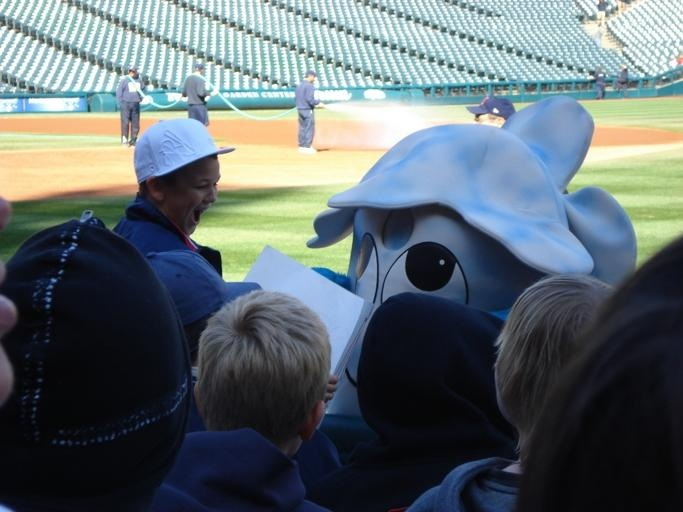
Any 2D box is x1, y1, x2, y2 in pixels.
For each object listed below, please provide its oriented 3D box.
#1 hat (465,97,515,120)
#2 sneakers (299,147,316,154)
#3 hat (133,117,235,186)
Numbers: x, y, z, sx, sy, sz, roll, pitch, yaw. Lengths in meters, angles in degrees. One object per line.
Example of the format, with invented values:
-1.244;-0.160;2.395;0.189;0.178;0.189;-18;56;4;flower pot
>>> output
1.310;-1.272;6.609;0.401;0.170;0.298;15;15;36;hat
-0.588;-1.839;13.472;0.266;0.108;0.136;-1;18;-1;sneakers
-0.578;-0.404;2.847;0.387;0.210;0.323;-5;12;25;hat
